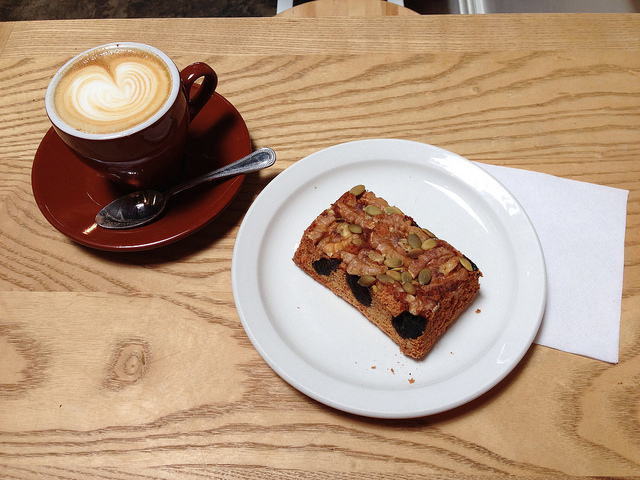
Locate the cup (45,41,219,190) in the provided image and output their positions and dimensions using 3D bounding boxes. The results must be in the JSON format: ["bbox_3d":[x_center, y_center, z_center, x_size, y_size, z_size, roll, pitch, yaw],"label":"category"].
[{"bbox_3d":[-0.572,-0.348,1.997,0.536,0.348,0.425,-28,65,-11],"label":"cup"}]

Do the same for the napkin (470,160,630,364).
[{"bbox_3d":[0.651,0.044,1.775,0.447,0.123,0.548,12,79,7],"label":"napkin"}]

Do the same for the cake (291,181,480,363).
[{"bbox_3d":[0.165,0.111,1.870,0.533,0.188,0.367,39,67,21],"label":"cake"}]
